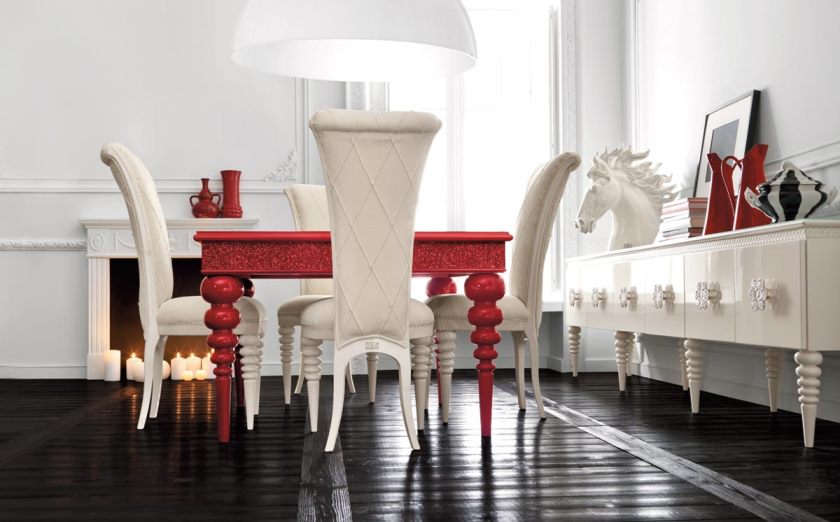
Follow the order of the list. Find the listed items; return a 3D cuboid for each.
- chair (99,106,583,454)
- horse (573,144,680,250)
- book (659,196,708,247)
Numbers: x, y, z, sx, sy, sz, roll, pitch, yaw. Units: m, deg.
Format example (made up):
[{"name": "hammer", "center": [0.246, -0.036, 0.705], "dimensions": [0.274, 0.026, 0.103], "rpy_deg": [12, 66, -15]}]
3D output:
[{"name": "chair", "center": [-0.855, -0.072, 4.987], "dimensions": [2.174, 1.548, 1.976], "rpy_deg": [0, 0, -7]}, {"name": "horse", "center": [1.636, -0.470, 5.749], "dimensions": [0.863, 0.858, 0.425], "rpy_deg": [-5, 9, -8]}, {"name": "book", "center": [1.862, -0.281, 5.370], "dimensions": [0.291, 0.343, 0.490], "rpy_deg": [1, -3, -9]}]
